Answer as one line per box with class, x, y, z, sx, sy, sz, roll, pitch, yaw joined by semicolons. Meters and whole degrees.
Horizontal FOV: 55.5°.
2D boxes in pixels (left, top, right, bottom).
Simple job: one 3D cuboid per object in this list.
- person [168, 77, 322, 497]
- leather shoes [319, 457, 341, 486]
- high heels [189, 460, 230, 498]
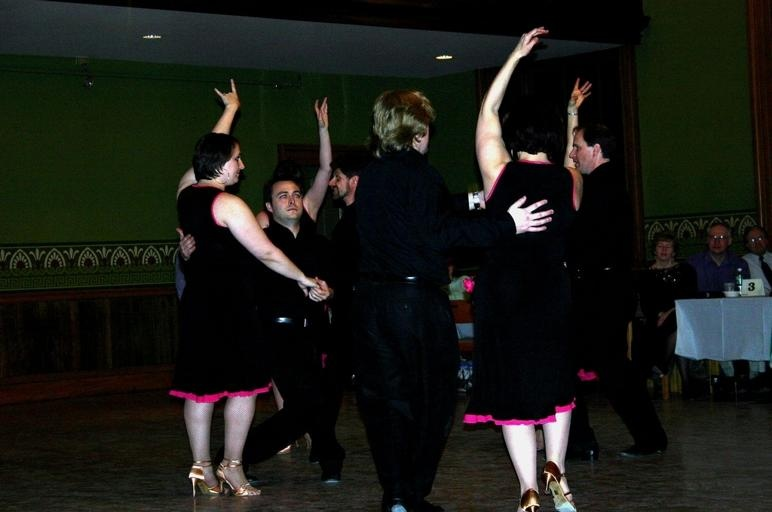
person;-0.931;0.541;4.467;0.783;2.254;0.384;-2;0;25
leather shoes;-0.361;1.429;4.862;0.147;0.154;0.158;3;-6;-10
high heels;-1.156;1.397;4.660;0.143;0.229;0.320;4;5;45
